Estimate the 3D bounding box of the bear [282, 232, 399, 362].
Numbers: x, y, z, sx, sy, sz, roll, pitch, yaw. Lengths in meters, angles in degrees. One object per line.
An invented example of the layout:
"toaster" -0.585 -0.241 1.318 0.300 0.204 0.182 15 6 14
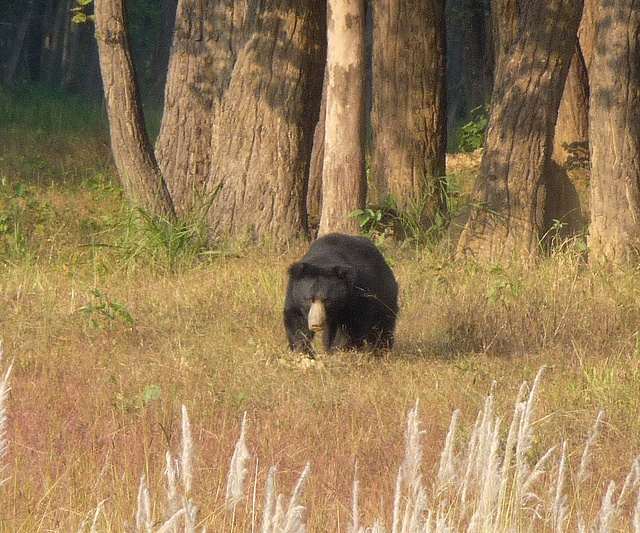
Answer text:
"bear" 0.208 0.386 18.335 0.885 1.750 2.042 5 5 22
